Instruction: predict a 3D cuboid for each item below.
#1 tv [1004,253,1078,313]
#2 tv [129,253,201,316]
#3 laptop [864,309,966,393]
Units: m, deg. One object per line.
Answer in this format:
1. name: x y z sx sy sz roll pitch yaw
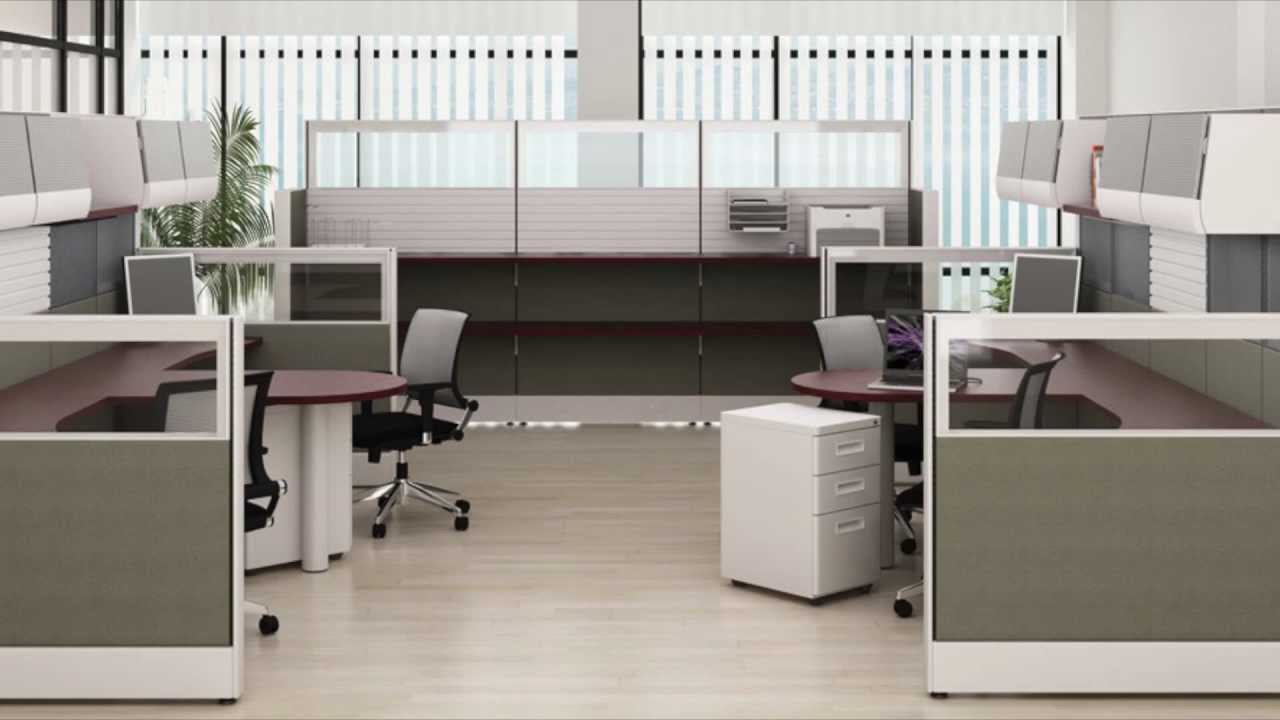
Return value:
1. tv: 3.124 -0.577 7.721 0.160 0.552 0.685 0 3 -42
2. tv: -3.661 -0.576 7.736 0.479 0.440 0.263 -6 16 -19
3. laptop: 1.758 -0.052 6.240 0.597 0.404 0.445 0 -1 7
